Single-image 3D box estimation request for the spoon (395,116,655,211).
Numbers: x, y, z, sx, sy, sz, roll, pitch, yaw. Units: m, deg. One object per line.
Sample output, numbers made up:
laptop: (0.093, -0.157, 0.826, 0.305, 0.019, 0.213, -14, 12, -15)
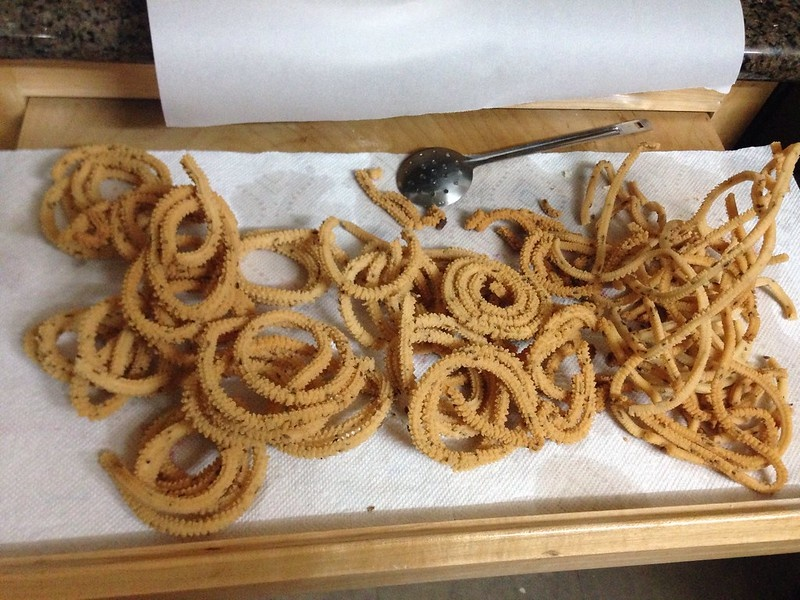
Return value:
spoon: (0.272, -0.280, 1.630, 0.561, 0.061, 0.153, -12, 75, -14)
